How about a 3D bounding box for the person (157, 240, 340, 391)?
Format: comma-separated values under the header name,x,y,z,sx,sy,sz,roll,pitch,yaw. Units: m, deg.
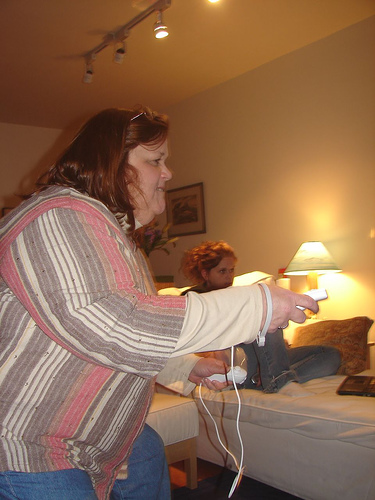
name,x,y,z,sx,sy,sz,roll,pitch,yaw
person,0.348,0.328,2.277,0.479,0.561,1.103,-12,17,-41
